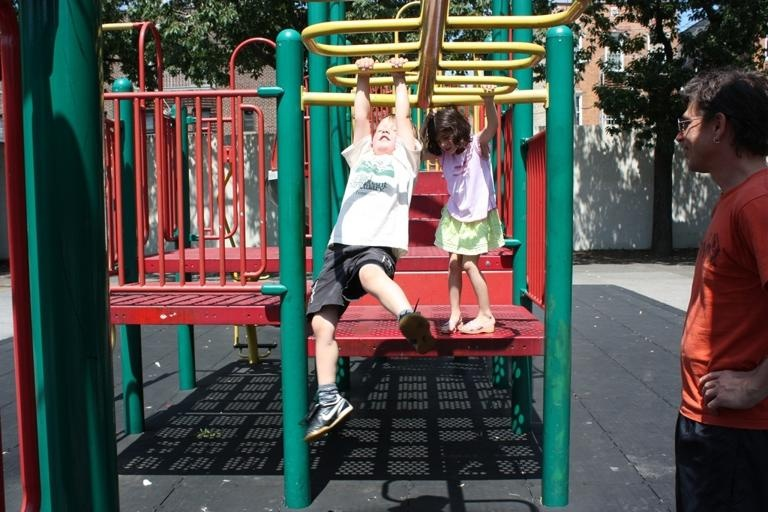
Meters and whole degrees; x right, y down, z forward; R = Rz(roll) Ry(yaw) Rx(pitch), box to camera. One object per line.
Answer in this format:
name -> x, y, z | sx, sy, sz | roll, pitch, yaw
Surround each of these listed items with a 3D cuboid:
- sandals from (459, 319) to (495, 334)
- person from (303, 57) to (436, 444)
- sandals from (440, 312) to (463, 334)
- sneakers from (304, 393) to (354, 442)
sandals -> 0.504, 0.381, 3.956 | 0.198, 0.054, 0.205 | 0, 7, 6
person -> -0.097, -0.054, 3.721 | 0.606, 1.748, 0.758 | -1, 6, 0
sandals -> 0.376, 0.389, 4.038 | 0.054, 0.064, 0.157 | -24, -15, 24
sneakers -> -0.276, 0.767, 3.486 | 0.222, 0.204, 0.135 | -2, 6, -8
